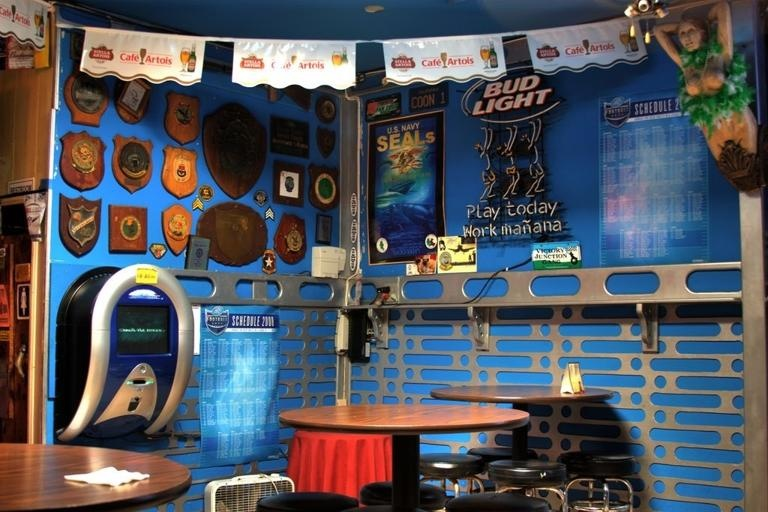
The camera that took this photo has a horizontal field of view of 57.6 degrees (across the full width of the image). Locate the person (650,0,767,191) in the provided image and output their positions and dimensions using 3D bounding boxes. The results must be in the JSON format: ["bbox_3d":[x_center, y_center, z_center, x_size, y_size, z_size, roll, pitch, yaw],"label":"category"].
[{"bbox_3d":[2.230,-1.058,4.777,0.523,1.220,0.555,-7,-10,41],"label":"person"}]
